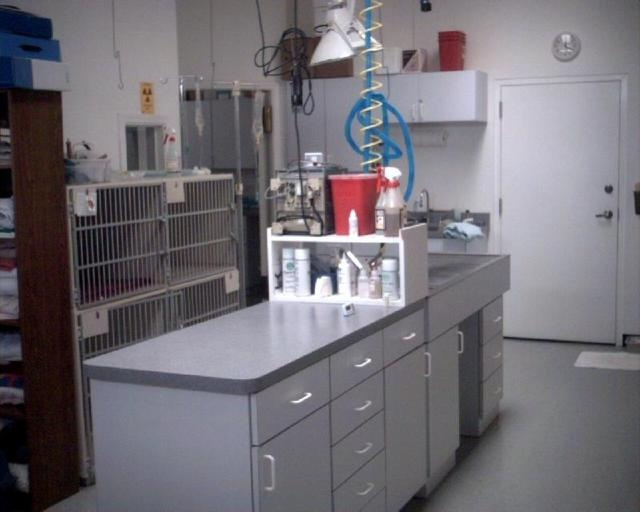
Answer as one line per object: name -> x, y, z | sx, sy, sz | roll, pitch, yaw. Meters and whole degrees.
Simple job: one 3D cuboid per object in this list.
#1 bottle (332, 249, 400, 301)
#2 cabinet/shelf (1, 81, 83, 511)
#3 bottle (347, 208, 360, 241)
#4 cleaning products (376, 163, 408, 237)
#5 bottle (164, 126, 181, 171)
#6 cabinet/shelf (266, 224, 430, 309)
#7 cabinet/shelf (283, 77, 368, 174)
bottle -> 0.224, 0.078, 2.836 | 0.384, 0.207, 0.174 | 5, 10, 35
cabinet/shelf -> -1.380, 0.221, 2.926 | 0.290, 2.099, 0.200 | -5, 9, -31
bottle -> 0.161, -0.167, 2.780 | 0.045, 0.132, 0.049 | -1, 8, 0
cleaning products -> 0.335, -0.272, 2.763 | 0.149, 0.318, 0.170 | 0, 8, 6
bottle -> -1.035, -0.764, 4.041 | 0.105, 0.316, 0.632 | -3, 9, -13
cabinet/shelf -> 0.192, 0.012, 2.951 | 0.645, 0.342, 0.457 | 1, 14, 26
cabinet/shelf -> 0.099, -1.349, 5.859 | 0.617, 0.899, 0.321 | -1, 8, -2
